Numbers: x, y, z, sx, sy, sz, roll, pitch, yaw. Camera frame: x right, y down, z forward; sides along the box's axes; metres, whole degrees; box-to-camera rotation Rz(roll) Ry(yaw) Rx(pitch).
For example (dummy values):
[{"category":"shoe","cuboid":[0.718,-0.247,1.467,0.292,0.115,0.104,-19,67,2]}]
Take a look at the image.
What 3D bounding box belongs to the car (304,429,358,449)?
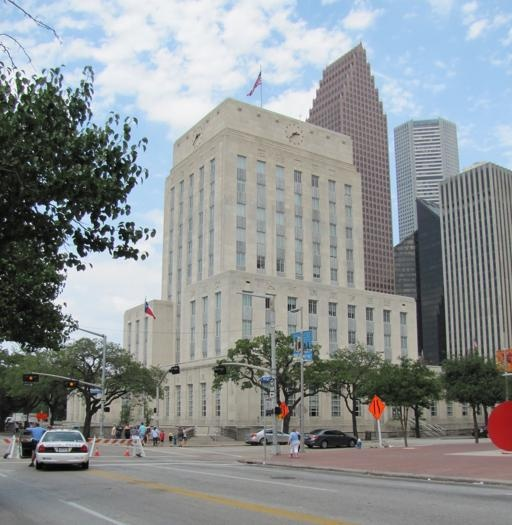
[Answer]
[{"category":"car","cuboid":[5.264,12.288,52.196,3.327,1.112,1.531,1,-7,-22]}]
